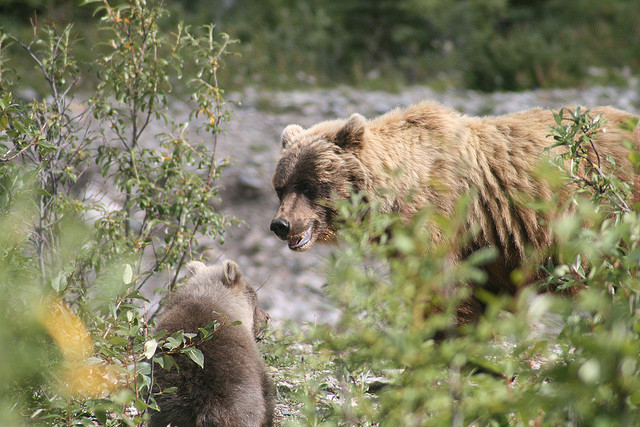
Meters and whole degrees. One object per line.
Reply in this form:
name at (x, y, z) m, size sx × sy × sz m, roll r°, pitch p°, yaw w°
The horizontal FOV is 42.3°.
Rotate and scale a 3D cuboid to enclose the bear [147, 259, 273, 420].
bear at (-0.934, 1.135, 7.223) m, size 0.811 × 1.152 × 1.534 m, roll -1°, pitch 33°, yaw 15°
